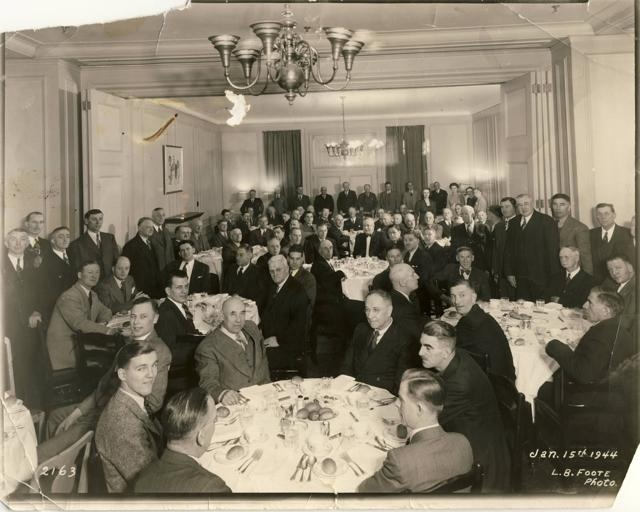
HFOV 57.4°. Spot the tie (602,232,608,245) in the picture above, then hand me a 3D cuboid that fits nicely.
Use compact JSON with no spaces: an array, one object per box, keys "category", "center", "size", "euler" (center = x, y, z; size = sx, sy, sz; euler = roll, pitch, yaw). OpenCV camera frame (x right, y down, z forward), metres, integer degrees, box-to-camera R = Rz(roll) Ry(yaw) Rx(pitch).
[{"category":"tie","center":[1.915,-0.121,3.944],"size":[0.039,0.076,0.014],"euler":[2,5,28]}]

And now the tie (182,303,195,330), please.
[{"category":"tie","center":[-0.952,0.439,4.302],"size":[0.058,0.233,0.064],"euler":[-12,-19,-31]}]

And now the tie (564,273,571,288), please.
[{"category":"tie","center":[1.707,0.171,4.060],"size":[0.029,0.098,0.086],"euler":[17,-16,-31]}]

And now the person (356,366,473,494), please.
[{"category":"person","center":[0.538,0.958,3.217],"size":[0.707,0.663,0.426],"euler":[-10,13,-42]}]

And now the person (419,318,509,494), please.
[{"category":"person","center":[0.898,1.110,3.892],"size":[0.677,1.366,0.497],"euler":[3,21,23]}]

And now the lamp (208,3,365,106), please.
[{"category":"lamp","center":[-0.116,-1.126,3.549],"size":[0.774,0.568,0.877],"euler":[5,19,18]}]

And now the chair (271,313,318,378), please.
[{"category":"chair","center":[-0.180,0.703,4.445],"size":[0.345,0.612,0.349],"euler":[-1,-4,0]}]

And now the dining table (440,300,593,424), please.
[{"category":"dining table","center":[1.417,0.542,3.975],"size":[0.785,0.394,0.761],"euler":[20,52,35]}]

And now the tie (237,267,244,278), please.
[{"category":"tie","center":[-0.599,0.126,4.466],"size":[0.017,0.046,0.051],"euler":[32,-5,-33]}]

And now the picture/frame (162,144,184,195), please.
[{"category":"picture/frame","center":[-1.107,-0.659,4.411],"size":[0.017,0.346,0.179],"euler":[11,14,34]}]

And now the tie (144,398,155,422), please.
[{"category":"tie","center":[-1.121,1.027,3.881],"size":[0.034,0.122,0.092],"euler":[-12,-1,11]}]

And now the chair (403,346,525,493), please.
[{"category":"chair","center":[0.880,1.001,3.799],"size":[0.690,0.968,0.603],"euler":[-3,6,11]}]

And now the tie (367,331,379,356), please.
[{"category":"tie","center":[0.354,0.582,3.933],"size":[0.075,0.140,0.034],"euler":[2,-11,40]}]

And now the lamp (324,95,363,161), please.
[{"category":"lamp","center":[0.180,-0.960,4.460],"size":[0.280,0.441,0.274],"euler":[0,13,12]}]

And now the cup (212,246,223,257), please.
[{"category":"cup","center":[-0.781,-0.035,4.470],"size":[0.056,0.067,0.075],"euler":[0,-19,-7]}]
